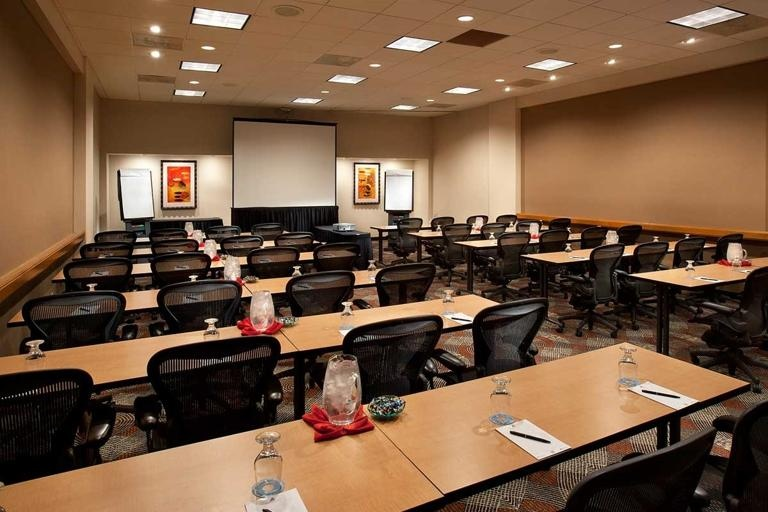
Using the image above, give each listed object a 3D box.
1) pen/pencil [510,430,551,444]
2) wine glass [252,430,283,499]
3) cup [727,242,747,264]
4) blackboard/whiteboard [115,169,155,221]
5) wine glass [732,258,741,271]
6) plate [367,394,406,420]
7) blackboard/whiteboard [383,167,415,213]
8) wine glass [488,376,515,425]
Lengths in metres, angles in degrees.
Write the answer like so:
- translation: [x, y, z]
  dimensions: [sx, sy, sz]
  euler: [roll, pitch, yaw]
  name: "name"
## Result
- translation: [0.720, 0.900, 2.352]
  dimensions: [0.213, 0.020, 0.023]
  euler: [6, 4, 43]
  name: "pen/pencil"
- translation: [-0.512, 0.910, 2.065]
  dimensions: [0.134, 0.250, 0.172]
  euler: [-3, 10, -15]
  name: "wine glass"
- translation: [4.212, -0.024, 5.771]
  dimensions: [0.329, 0.260, 0.226]
  euler: [3, -3, -28]
  name: "cup"
- translation: [-5.869, -1.448, 11.222]
  dimensions: [0.565, 1.223, 1.169]
  euler: [3, 9, 19]
  name: "blackboard/whiteboard"
- translation: [4.137, 0.104, 5.602]
  dimensions: [0.101, 0.082, 0.100]
  euler: [1, 3, 34]
  name: "wine glass"
- translation: [0.003, 0.803, 2.521]
  dimensions: [0.137, 0.035, 0.120]
  euler: [2, 16, 23]
  name: "plate"
- translation: [0.430, -2.026, 14.751]
  dimensions: [0.880, 1.330, 0.796]
  euler: [-1, 9, -2]
  name: "blackboard/whiteboard"
- translation: [0.623, 0.749, 2.499]
  dimensions: [0.123, 0.226, 0.193]
  euler: [2, 9, 12]
  name: "wine glass"
